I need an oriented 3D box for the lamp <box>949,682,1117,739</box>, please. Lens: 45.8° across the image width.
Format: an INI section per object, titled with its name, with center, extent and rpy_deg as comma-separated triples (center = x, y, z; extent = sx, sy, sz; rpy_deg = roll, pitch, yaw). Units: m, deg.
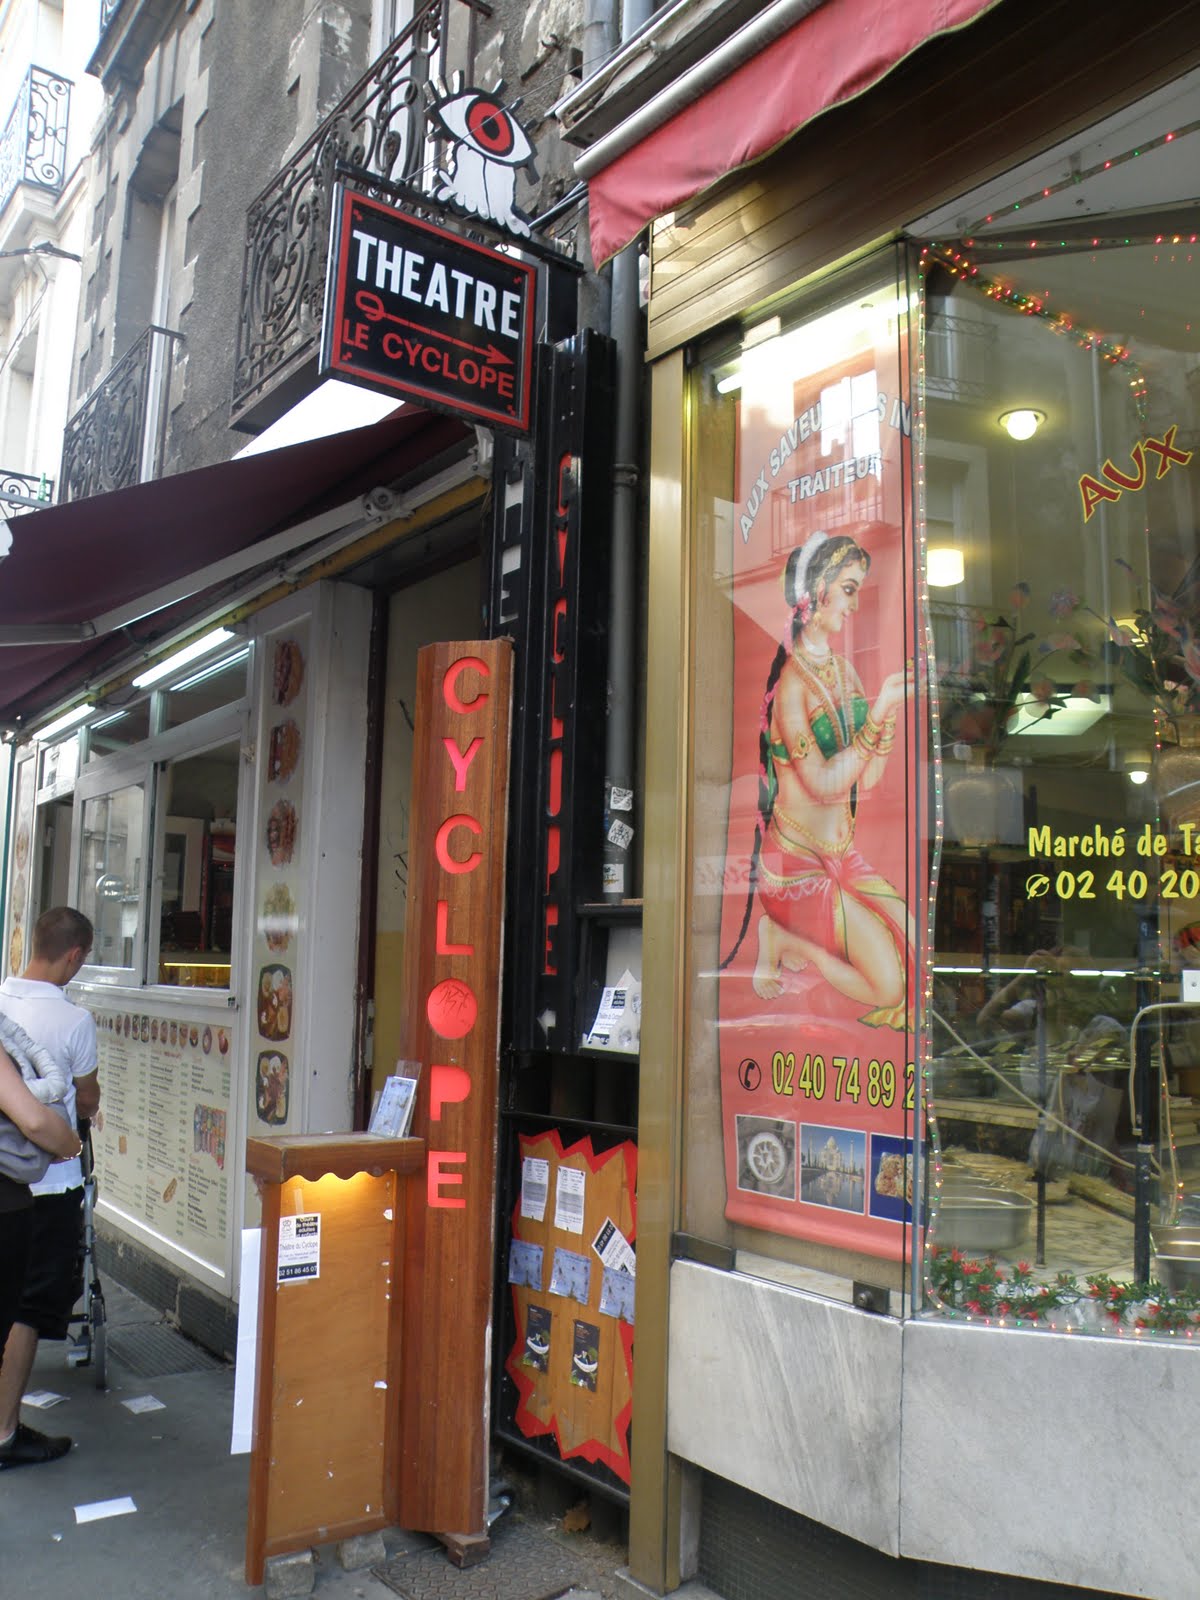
[lamp]
center = 0.893, -0.178, 2.941
extent = 0.189, 0.071, 0.134
rpy_deg = 3, -5, 11
